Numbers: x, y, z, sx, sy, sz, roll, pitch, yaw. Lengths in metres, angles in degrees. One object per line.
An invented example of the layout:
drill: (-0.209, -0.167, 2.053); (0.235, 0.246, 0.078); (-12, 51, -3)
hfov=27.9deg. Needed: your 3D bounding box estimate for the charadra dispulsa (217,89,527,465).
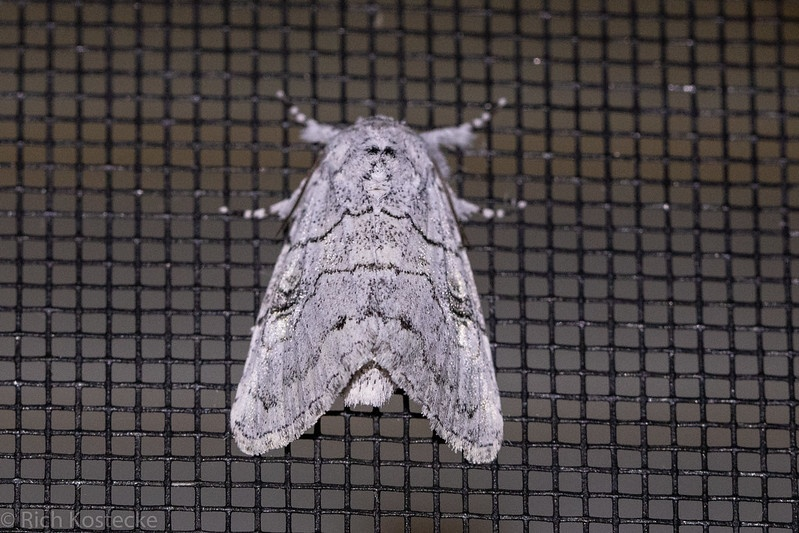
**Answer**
charadra dispulsa: (-0.102, 0.042, 6.143); (1.010, 0.127, 1.353); (2, 82, -2)
